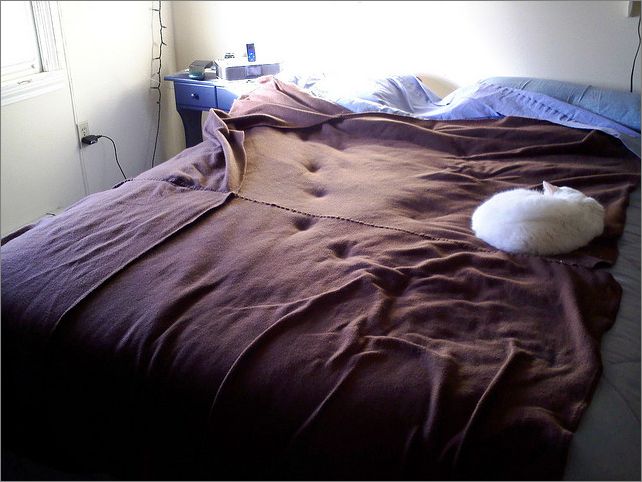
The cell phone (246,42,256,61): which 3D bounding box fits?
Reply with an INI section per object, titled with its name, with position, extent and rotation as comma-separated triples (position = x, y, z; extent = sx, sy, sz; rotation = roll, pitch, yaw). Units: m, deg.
[cell phone]
position = -0.427, -1.148, 2.747
extent = 0.064, 0.124, 0.123
rotation = -5, 17, -10
